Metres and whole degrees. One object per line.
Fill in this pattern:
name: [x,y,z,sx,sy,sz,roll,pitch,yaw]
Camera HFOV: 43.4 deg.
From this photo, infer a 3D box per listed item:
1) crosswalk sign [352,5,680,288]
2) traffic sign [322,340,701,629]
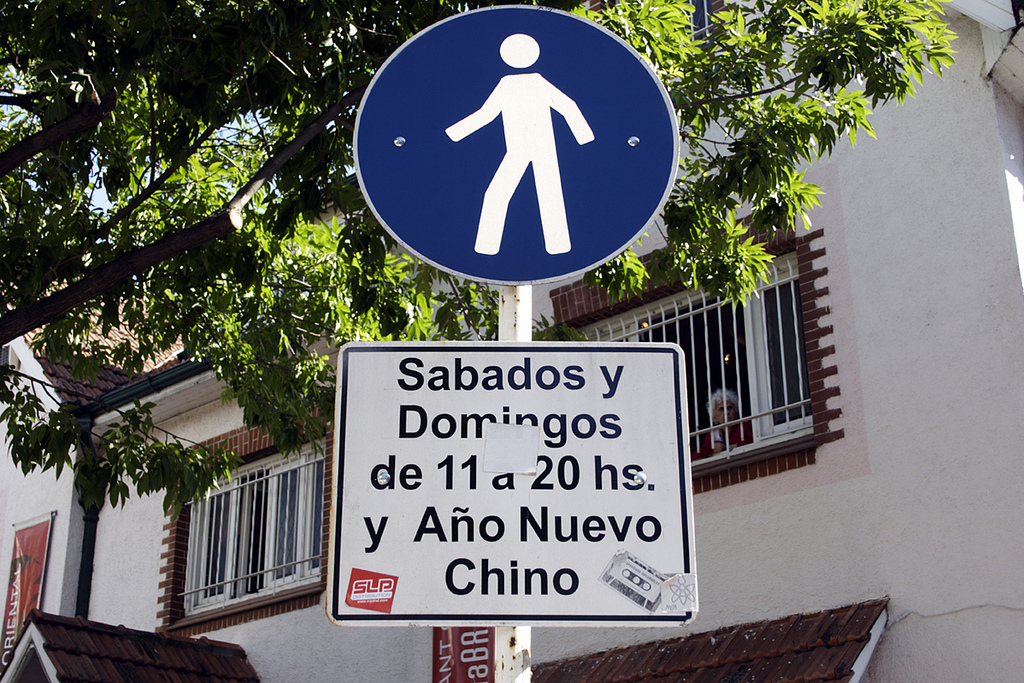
crosswalk sign: [-0.065,-1.169,6.852,1.245,1.702,1.220,8,-9,-22]
traffic sign: [0.011,0.678,6.215,1.745,1.558,0.084,1,-30,-2]
